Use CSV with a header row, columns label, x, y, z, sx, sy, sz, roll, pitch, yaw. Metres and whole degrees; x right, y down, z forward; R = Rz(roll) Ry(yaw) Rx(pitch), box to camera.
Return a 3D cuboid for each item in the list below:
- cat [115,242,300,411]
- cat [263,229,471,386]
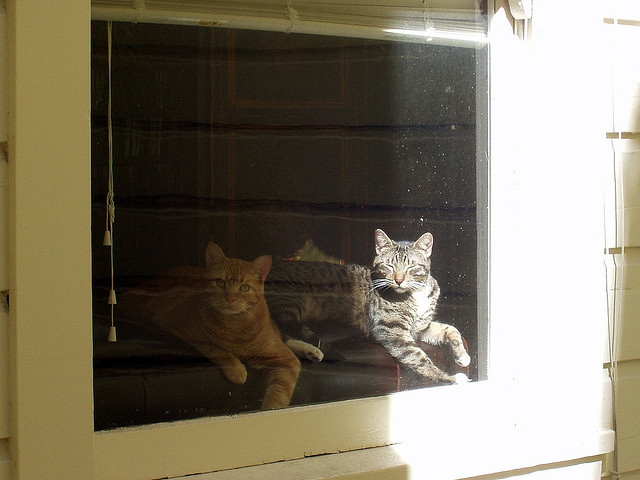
label,x,y,z,sx,sy,sz,roll,pitch,yaw
cat,-0.294,0.143,1.692,0.269,0.352,0.667,-11,22,-44
cat,0.115,0.150,1.685,0.525,0.355,0.297,6,7,16
